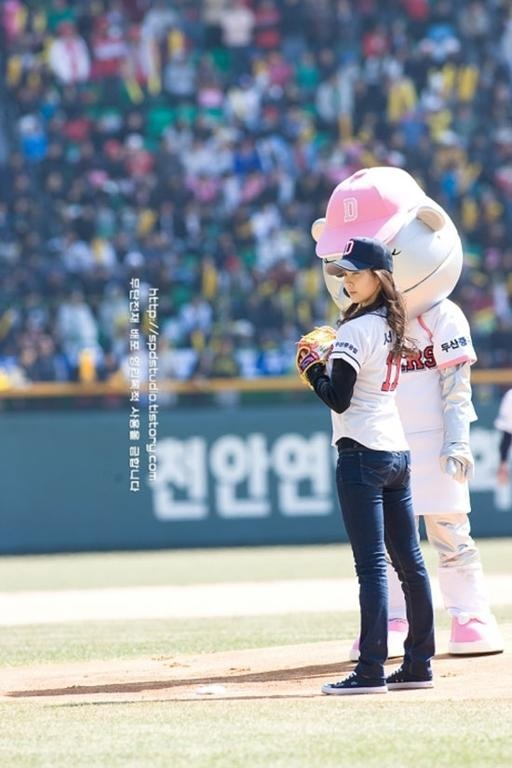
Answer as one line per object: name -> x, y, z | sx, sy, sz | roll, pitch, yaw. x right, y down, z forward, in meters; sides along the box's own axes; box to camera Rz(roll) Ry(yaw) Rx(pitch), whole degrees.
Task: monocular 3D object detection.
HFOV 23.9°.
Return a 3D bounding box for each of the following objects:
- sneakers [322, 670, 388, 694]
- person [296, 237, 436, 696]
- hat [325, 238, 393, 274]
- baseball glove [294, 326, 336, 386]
sneakers -> 0.315, 0.951, 3.916 | 0.213, 0.069, 0.072 | 1, -7, 7
person -> 0.363, 0.270, 3.982 | 0.421, 1.486, 0.304 | -2, -4, -42
hat -> 0.340, -0.411, 3.945 | 0.204, 0.087, 0.114 | 5, -2, -23
baseball glove -> 0.221, -0.100, 4.062 | 0.156, 0.183, 0.071 | -9, -40, 37
